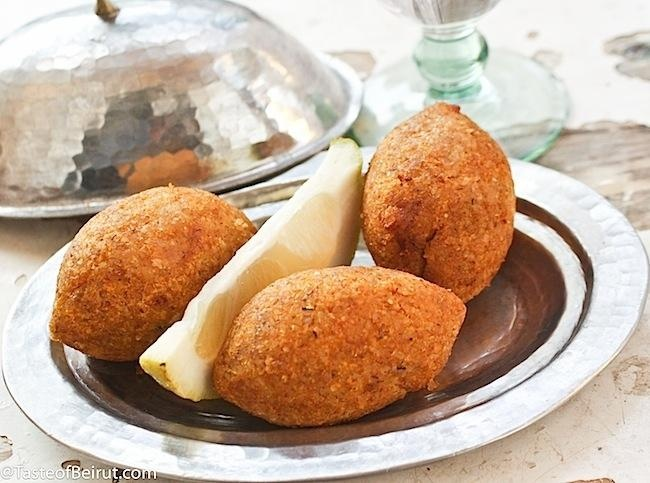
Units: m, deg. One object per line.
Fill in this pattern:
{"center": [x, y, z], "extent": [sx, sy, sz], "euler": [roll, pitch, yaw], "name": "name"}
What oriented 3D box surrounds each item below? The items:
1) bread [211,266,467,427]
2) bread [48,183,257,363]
{"center": [0.014, 0.093, 0.661], "extent": [0.195, 0.104, 0.116], "euler": [-22, 16, -19], "name": "bread"}
{"center": [-0.174, 0.029, 0.731], "extent": [0.118, 0.126, 0.192], "euler": [34, 67, 21], "name": "bread"}
